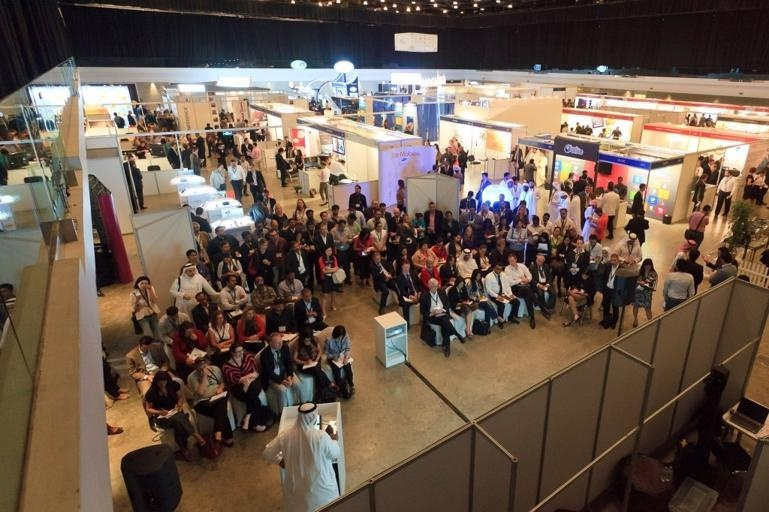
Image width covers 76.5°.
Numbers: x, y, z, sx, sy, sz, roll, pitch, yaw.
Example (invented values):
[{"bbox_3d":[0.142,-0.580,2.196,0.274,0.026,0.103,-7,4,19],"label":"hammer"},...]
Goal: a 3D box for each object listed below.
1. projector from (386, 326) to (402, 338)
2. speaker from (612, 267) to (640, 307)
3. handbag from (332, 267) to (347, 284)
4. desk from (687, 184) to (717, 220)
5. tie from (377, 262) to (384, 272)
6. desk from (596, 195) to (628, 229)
[{"bbox_3d":[0.150,1.341,8.703,0.233,0.223,0.057,-5,3,-10],"label":"projector"},{"bbox_3d":[4.350,0.568,8.826,0.469,0.603,0.321,-26,31,-31],"label":"speaker"},{"bbox_3d":[-0.931,0.406,10.238,0.236,0.323,0.299,4,-1,-16],"label":"handbag"},{"bbox_3d":[9.381,-1.642,14.451,0.927,0.948,0.533,0,-2,18],"label":"desk"},{"bbox_3d":[-0.077,0.243,10.146,0.104,0.173,0.044,1,7,14],"label":"tie"},{"bbox_3d":[6.112,-1.193,13.248,0.374,1.234,0.454,3,37,-14],"label":"desk"}]
